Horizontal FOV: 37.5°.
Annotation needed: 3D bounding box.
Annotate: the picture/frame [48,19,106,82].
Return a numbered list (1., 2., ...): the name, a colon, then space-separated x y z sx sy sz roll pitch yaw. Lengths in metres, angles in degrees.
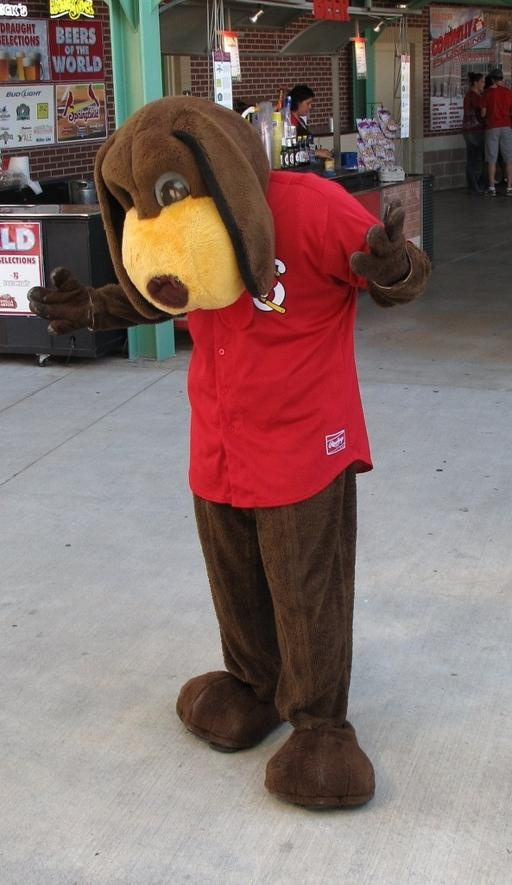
1. picture/frame: -2.359 -5.167 9.909 0.023 0.734 0.893 26 36 28

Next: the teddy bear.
1. teddy bear: 0.021 0.076 1.661 0.567 1.536 0.747 -10 14 -20
